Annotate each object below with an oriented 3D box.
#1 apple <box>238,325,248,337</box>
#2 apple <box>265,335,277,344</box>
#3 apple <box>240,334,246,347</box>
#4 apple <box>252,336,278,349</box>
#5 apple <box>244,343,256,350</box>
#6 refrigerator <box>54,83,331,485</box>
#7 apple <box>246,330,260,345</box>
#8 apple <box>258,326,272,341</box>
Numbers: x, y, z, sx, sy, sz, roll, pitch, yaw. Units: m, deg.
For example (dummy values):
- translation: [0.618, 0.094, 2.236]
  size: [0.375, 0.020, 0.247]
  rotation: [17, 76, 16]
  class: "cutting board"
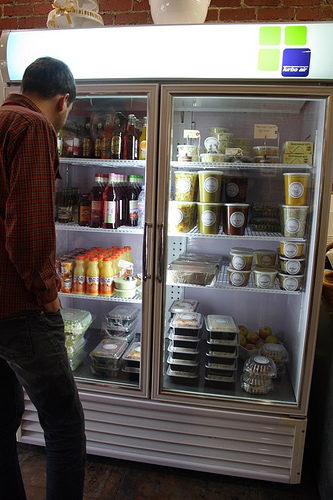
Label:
- translation: [0.431, 0.464, 2.133]
  size: [0.045, 0.056, 0.047]
  rotation: [-2, 12, 8]
  class: "apple"
- translation: [0.573, 0.495, 2.058]
  size: [0.039, 0.041, 0.048]
  rotation: [-1, 39, 1]
  class: "apple"
- translation: [0.424, 0.512, 2.100]
  size: [0.046, 0.057, 0.047]
  rotation: [-1, 2, 0]
  class: "apple"
- translation: [0.552, 0.509, 2.097]
  size: [0.125, 0.059, 0.066]
  rotation: [-15, 2, 15]
  class: "apple"
- translation: [0.456, 0.535, 2.071]
  size: [0.028, 0.023, 0.037]
  rotation: [-1, 5, -7]
  class: "apple"
- translation: [0.102, 0.129, 1.917]
  size: [1.390, 1.746, 0.696]
  rotation: [3, 8, 11]
  class: "refrigerator"
- translation: [0.483, 0.496, 2.114]
  size: [0.062, 0.065, 0.075]
  rotation: [3, 51, 0]
  class: "apple"
- translation: [0.554, 0.473, 2.117]
  size: [0.066, 0.083, 0.068]
  rotation: [0, -3, 2]
  class: "apple"
